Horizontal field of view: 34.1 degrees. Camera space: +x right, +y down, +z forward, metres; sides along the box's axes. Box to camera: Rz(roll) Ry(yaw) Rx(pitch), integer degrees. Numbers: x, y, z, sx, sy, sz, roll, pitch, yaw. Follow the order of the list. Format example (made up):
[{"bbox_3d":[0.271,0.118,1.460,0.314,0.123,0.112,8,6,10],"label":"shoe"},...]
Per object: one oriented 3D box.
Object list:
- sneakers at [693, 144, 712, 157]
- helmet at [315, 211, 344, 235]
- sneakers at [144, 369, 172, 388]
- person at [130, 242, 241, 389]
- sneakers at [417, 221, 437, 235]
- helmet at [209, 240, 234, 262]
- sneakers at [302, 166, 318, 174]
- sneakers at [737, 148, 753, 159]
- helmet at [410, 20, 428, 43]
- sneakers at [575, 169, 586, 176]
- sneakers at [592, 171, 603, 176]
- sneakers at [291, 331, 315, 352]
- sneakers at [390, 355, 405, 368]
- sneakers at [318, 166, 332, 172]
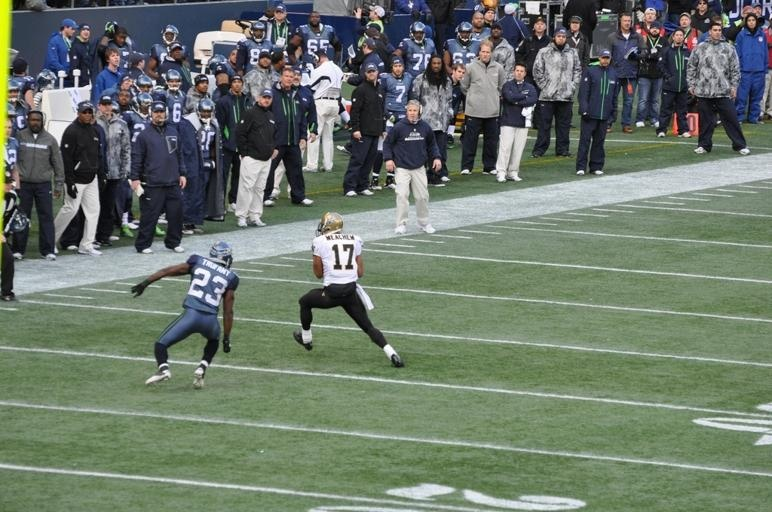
[{"bbox_3d":[6.894,-2.345,27.878,0.164,0.140,0.388,9,17,28],"label":"sneakers"},{"bbox_3d":[-0.725,-0.400,15.616,0.380,0.279,0.263,5,9,14],"label":"helmet"},{"bbox_3d":[-2.601,1.456,14.629,0.348,0.117,0.152,-18,38,26],"label":"sneakers"},{"bbox_3d":[-2.200,0.710,14.607,1.016,1.720,0.469,-1,0,-9],"label":"person"},{"bbox_3d":[0.694,-0.456,21.182,0.143,0.113,0.292,-20,16,-35],"label":"sneakers"},{"bbox_3d":[-1.902,-0.039,14.799,0.248,0.230,0.284,19,32,24],"label":"helmet"},{"bbox_3d":[-1.585,-1.798,26.332,0.355,0.119,0.118,3,11,17],"label":"sneakers"},{"bbox_3d":[7.751,-2.256,27.621,0.342,0.219,0.591,-4,1,1],"label":"sneakers"},{"bbox_3d":[0.682,-4.720,26.489,0.271,0.460,0.563,-1,1,0],"label":"helmet"},{"bbox_3d":[3.923,-1.696,25.693,0.182,0.167,0.420,-1,0,6],"label":"sneakers"},{"bbox_3d":[4.284,-1.700,25.827,0.098,0.057,0.164,-2,3,-20],"label":"sneakers"},{"bbox_3d":[-1.035,1.074,15.708,0.358,0.141,0.138,39,45,24],"label":"sneakers"},{"bbox_3d":[0.150,1.305,15.362,0.153,0.160,0.311,-1,1,14],"label":"sneakers"},{"bbox_3d":[-1.242,-1.816,26.291,0.153,0.137,0.374,0,5,-21],"label":"sneakers"}]
